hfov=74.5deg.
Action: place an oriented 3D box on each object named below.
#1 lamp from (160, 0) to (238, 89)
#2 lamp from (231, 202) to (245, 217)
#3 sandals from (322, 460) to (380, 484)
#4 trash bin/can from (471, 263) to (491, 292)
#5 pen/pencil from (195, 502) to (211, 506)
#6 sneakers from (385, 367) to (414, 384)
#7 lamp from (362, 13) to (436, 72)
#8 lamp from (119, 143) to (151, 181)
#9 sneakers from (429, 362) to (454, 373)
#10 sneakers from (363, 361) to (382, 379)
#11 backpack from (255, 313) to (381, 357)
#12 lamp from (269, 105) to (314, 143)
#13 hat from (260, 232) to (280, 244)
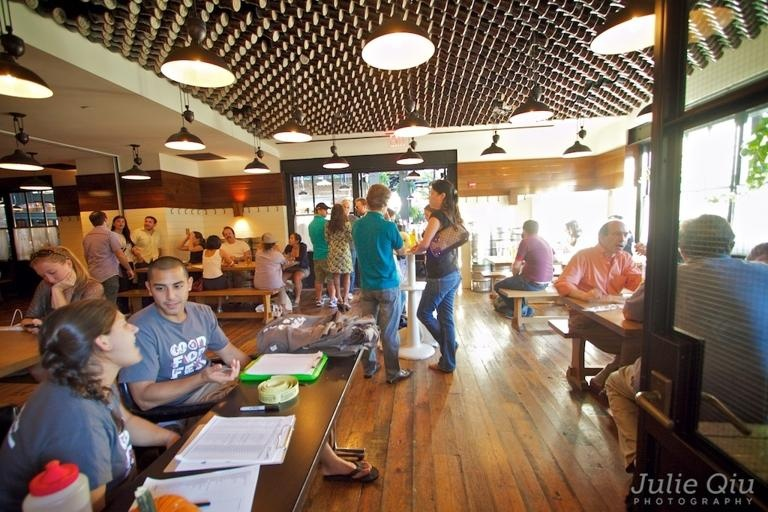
[{"bbox_3d":[-1.551,-1.598,4.203,0.577,0.614,0.630,-5,-8,27],"label":"lamp"},{"bbox_3d":[-2.937,-0.917,10.119,0.257,0.355,0.254,-1,-9,-2],"label":"lamp"},{"bbox_3d":[-0.246,1.640,3.821,0.307,0.076,0.166,-1,13,3],"label":"sandals"},{"bbox_3d":[1.699,0.389,8.867,0.453,0.473,0.446,0,-2,2],"label":"trash bin/can"},{"bbox_3d":[-0.941,1.288,2.613,0.066,0.017,0.019,-1,6,-9],"label":"pen/pencil"},{"bbox_3d":[0.153,1.200,5.049,0.102,0.098,0.280,7,9,40],"label":"sneakers"},{"bbox_3d":[0.097,-1.624,3.899,0.417,0.266,0.454,-6,8,-43],"label":"lamp"},{"bbox_3d":[-3.846,-1.455,7.769,0.464,0.448,0.468,13,12,37],"label":"lamp"},{"bbox_3d":[0.580,1.165,5.223,0.274,0.111,0.093,5,4,25],"label":"sneakers"},{"bbox_3d":[-0.100,1.146,5.063,0.078,0.151,0.227,3,15,15],"label":"sneakers"},{"bbox_3d":[-0.485,0.564,3.610,0.522,0.169,0.446,1,3,2],"label":"backpack"},{"bbox_3d":[-0.957,-1.419,5.362,0.362,0.354,0.508,2,6,23],"label":"lamp"},{"bbox_3d":[-1.869,-0.283,8.261,0.309,0.127,0.338,-2,12,-43],"label":"hat"}]
